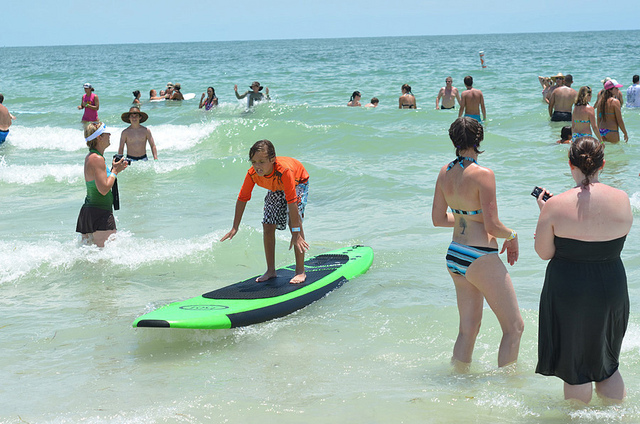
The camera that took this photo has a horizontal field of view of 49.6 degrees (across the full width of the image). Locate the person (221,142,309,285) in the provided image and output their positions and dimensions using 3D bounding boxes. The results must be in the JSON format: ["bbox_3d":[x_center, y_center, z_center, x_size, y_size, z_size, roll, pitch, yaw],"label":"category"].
[{"bbox_3d":[-0.655,0.039,9.387,1.016,2.014,0.820,-4,13,-1],"label":"person"}]

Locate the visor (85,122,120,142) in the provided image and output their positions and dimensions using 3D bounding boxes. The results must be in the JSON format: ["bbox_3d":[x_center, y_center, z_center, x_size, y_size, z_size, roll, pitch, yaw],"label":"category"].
[{"bbox_3d":[-3.148,-1.152,9.961,0.492,0.150,0.258,-18,11,-4],"label":"visor"}]

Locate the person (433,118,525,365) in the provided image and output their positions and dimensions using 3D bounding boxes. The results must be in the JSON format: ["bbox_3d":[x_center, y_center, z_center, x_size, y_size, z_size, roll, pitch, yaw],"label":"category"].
[{"bbox_3d":[1.717,0.359,7.569,0.959,2.744,0.488,-1,14,15],"label":"person"}]

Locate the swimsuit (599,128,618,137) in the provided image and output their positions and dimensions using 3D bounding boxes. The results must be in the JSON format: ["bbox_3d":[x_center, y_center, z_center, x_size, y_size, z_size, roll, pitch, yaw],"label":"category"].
[{"bbox_3d":[6.503,-1.804,15.733,0.280,0.106,0.212,5,-2,-32],"label":"swimsuit"}]

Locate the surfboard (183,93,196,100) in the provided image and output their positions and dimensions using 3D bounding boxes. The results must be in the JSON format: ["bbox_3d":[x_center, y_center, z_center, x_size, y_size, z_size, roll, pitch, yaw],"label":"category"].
[{"bbox_3d":[-4.907,-4.363,26.197,0.522,0.176,0.754,-1,9,4],"label":"surfboard"}]

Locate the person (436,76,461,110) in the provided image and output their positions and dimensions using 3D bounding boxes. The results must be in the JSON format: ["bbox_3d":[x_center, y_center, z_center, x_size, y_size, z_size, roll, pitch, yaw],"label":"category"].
[{"bbox_3d":[3.808,-3.564,20.886,0.609,0.947,1.923,-2,11,9],"label":"person"}]

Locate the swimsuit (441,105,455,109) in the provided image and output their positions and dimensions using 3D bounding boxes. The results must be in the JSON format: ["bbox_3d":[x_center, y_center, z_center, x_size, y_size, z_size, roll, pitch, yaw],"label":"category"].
[{"bbox_3d":[3.863,-3.166,20.892,0.386,0.116,0.302,-2,11,2],"label":"swimsuit"}]

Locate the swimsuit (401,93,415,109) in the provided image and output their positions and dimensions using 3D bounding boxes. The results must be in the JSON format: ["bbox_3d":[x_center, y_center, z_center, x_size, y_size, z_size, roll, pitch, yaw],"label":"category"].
[{"bbox_3d":[2.676,-3.362,21.062,0.194,0.526,0.396,25,20,38],"label":"swimsuit"}]

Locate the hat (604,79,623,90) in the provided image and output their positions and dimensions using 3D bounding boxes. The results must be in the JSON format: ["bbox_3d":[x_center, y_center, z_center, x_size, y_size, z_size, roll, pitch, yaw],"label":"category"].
[{"bbox_3d":[6.472,-2.776,15.159,0.367,0.115,0.210,-11,12,-13],"label":"hat"}]

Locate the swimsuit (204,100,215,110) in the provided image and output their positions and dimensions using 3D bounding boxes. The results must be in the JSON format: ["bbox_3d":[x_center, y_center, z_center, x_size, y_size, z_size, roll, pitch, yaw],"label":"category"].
[{"bbox_3d":[-3.778,-3.609,23.580,0.210,0.284,0.070,3,-34,6],"label":"swimsuit"}]

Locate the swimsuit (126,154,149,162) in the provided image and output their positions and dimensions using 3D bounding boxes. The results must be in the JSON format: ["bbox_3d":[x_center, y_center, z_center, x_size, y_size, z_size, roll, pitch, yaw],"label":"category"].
[{"bbox_3d":[-3.949,-1.169,14.956,0.397,0.176,0.183,-6,12,-17],"label":"swimsuit"}]

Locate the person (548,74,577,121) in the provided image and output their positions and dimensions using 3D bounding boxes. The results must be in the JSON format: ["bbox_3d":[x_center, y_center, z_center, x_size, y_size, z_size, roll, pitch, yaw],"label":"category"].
[{"bbox_3d":[6.451,-2.997,18.249,0.553,1.185,0.920,-4,12,0],"label":"person"}]

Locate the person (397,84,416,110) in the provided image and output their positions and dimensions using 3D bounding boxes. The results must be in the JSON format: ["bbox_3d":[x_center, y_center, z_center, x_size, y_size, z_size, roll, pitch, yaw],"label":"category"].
[{"bbox_3d":[2.653,-3.500,21.115,0.496,0.687,0.591,-3,12,4],"label":"person"}]

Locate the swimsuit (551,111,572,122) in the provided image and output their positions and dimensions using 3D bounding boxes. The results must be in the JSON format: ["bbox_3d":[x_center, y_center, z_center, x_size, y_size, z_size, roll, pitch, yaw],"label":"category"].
[{"bbox_3d":[6.388,-2.516,18.304,0.124,0.282,0.604,-11,13,-26],"label":"swimsuit"}]

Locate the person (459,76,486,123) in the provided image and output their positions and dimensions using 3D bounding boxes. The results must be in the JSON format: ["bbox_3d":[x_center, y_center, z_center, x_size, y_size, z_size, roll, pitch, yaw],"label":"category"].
[{"bbox_3d":[3.956,-2.897,17.944,0.639,1.229,2.169,-1,11,14],"label":"person"}]

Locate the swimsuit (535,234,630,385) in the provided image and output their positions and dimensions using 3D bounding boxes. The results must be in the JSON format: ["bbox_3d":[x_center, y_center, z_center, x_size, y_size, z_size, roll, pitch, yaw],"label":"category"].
[{"bbox_3d":[2.618,0.990,6.958,0.842,1.480,0.311,-1,14,13],"label":"swimsuit"}]

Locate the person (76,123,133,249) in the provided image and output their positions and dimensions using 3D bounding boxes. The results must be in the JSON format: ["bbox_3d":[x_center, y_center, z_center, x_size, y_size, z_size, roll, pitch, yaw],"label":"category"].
[{"bbox_3d":[-3.232,-0.367,10.194,0.690,1.871,0.531,3,15,28],"label":"person"}]

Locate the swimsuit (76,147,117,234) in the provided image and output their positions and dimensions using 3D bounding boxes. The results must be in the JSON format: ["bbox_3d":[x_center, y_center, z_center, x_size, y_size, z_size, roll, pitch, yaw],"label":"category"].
[{"bbox_3d":[-3.307,-0.078,10.202,0.566,0.838,0.374,5,15,34],"label":"swimsuit"}]

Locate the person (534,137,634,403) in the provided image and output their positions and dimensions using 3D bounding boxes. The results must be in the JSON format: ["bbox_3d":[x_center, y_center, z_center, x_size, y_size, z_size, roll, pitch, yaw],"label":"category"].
[{"bbox_3d":[2.660,0.644,6.984,0.934,2.699,0.541,-1,14,12],"label":"person"}]

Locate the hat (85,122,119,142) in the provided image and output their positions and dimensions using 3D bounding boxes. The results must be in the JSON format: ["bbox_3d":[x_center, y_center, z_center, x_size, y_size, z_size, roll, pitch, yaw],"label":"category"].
[{"bbox_3d":[-3.180,-1.103,9.958,0.501,0.127,0.263,-18,11,-2],"label":"hat"}]

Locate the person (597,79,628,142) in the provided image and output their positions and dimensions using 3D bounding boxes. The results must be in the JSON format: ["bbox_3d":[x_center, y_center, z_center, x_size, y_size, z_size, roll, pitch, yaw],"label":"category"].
[{"bbox_3d":[6.613,-2.265,15.635,0.625,1.438,1.029,1,13,23],"label":"person"}]

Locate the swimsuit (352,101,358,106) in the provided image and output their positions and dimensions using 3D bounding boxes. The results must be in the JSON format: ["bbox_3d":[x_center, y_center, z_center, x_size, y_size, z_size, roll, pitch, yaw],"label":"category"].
[{"bbox_3d":[1.107,-3.401,21.803,0.180,0.146,0.166,8,-4,5],"label":"swimsuit"}]

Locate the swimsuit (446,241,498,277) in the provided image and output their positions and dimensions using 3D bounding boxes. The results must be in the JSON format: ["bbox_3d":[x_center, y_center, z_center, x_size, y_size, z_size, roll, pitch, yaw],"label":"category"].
[{"bbox_3d":[1.667,0.521,7.705,0.513,0.306,0.533,1,10,-44],"label":"swimsuit"}]
